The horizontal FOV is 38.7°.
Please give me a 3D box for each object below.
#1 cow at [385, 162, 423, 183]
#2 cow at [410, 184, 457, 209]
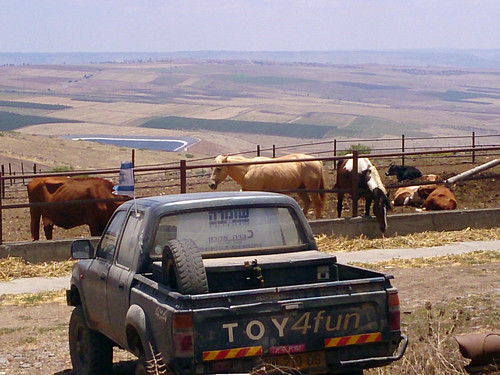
[{"bbox_3d":[5.847,-0.567,27.012,1.492,0.606,0.558,1,-2,22],"label":"cow"},{"bbox_3d":[5.037,0.309,19.058,0.927,0.377,1.127,3,5,2],"label":"cow"}]
